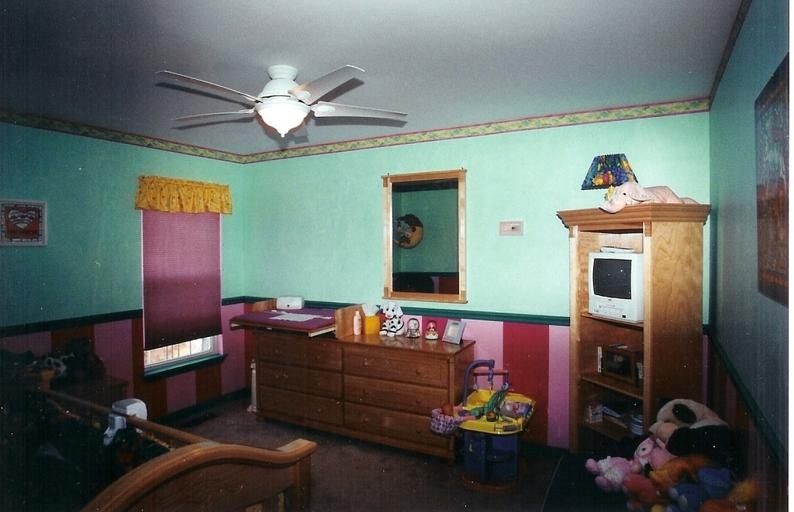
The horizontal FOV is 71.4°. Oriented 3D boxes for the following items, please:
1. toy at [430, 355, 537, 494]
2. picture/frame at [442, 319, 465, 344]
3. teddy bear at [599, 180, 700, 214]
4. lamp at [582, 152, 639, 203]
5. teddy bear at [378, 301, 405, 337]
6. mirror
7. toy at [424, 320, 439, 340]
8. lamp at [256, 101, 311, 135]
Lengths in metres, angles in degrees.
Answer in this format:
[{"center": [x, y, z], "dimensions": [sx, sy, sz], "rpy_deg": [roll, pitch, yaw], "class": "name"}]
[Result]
[{"center": [0.836, 1.657, 5.669], "dimensions": [1.024, 1.246, 1.343], "rpy_deg": [-1, 1, 23], "class": "toy"}, {"center": [0.596, 0.785, 5.714], "dimensions": [0.207, 0.234, 0.137], "rpy_deg": [0, -16, 35], "class": "picture/frame"}, {"center": [2.101, -0.506, 4.713], "dimensions": [0.556, 0.185, 0.374], "rpy_deg": [-14, 0, -13], "class": "teddy bear"}, {"center": [2.046, -0.728, 5.320], "dimensions": [0.460, 0.307, 0.479], "rpy_deg": [0, 4, 31], "class": "lamp"}, {"center": [-0.075, 0.673, 6.034], "dimensions": [0.268, 0.328, 0.320], "rpy_deg": [4, 6, -4], "class": "teddy bear"}, {"center": [0.301, -0.211, 6.058], "dimensions": [0.990, 1.429, 0.487], "rpy_deg": [2, 15, 14], "class": "mirror"}, {"center": [0.359, 0.798, 5.845], "dimensions": [0.175, 0.178, 0.170], "rpy_deg": [0, -6, 0], "class": "toy"}, {"center": [-0.924, -1.120, 4.462], "dimensions": [0.285, 0.142, 0.277], "rpy_deg": [0, 1, -39], "class": "lamp"}]
